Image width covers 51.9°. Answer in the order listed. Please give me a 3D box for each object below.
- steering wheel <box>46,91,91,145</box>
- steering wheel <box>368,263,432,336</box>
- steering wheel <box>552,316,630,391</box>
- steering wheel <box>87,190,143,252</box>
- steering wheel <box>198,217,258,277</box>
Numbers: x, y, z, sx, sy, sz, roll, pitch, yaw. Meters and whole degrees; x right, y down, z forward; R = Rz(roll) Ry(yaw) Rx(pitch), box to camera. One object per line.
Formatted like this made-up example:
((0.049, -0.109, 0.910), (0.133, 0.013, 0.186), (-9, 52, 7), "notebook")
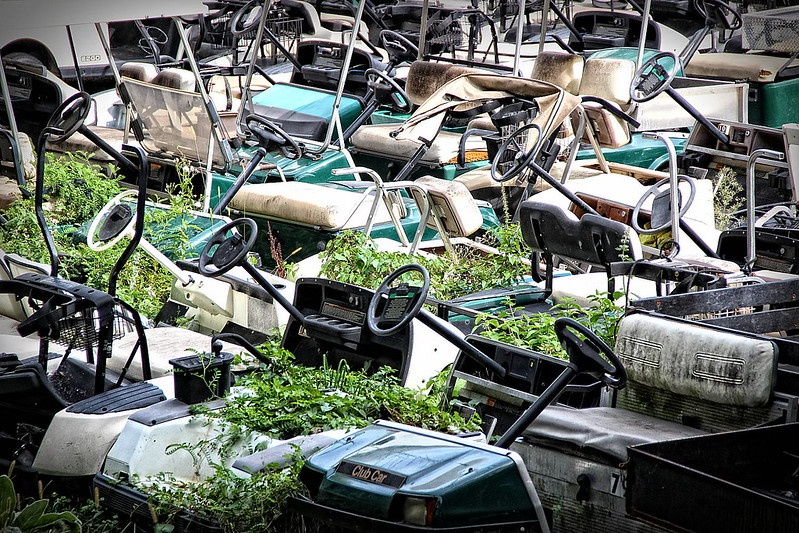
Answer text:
((-2.445, -1.180, 6.349), (0.094, 0.408, 0.396), (42, 22, -30), "steering wheel")
((0.005, 0.208, 4.934), (0.080, 0.538, 0.512), (39, -20, -23), "steering wheel")
((0.939, 0.433, 4.113), (0.309, 0.339, 0.283), (2, 14, 0), "steering wheel")
((-2.334, -0.362, 6.785), (0.138, 0.523, 0.514), (48, -3, -43), "steering wheel")
((-1.232, -0.135, 5.886), (0.412, 0.415, 0.099), (16, -27, 54), "steering wheel")
